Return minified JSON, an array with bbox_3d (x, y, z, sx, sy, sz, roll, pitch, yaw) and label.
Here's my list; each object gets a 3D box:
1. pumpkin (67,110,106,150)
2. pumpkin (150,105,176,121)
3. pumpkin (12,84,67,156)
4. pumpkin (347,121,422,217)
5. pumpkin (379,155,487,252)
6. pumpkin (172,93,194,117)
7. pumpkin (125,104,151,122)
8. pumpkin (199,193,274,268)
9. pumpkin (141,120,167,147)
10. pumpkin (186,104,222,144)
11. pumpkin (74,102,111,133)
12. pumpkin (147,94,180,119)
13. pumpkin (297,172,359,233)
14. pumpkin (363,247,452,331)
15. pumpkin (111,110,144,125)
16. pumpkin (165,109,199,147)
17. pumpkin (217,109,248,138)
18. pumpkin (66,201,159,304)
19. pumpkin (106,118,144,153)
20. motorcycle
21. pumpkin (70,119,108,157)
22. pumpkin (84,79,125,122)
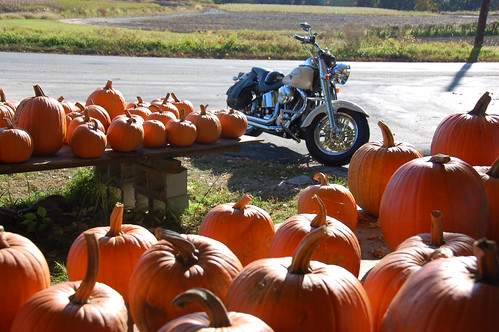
[{"bbox_3d":[-1.818,-0.456,5.521,0.364,0.452,0.401,8,12,-6],"label":"pumpkin"},{"bbox_3d":[-1.077,-0.626,6.038,0.209,0.260,0.238,-3,9,-5],"label":"pumpkin"},{"bbox_3d":[-2.256,-0.443,5.255,0.495,0.785,0.515,-5,-8,2],"label":"pumpkin"},{"bbox_3d":[1.378,0.061,4.966,0.684,0.968,0.709,11,14,40],"label":"pumpkin"},{"bbox_3d":[1.596,0.503,4.261,0.816,1.125,0.874,0,-16,15],"label":"pumpkin"},{"bbox_3d":[-0.984,-0.874,6.793,0.213,0.293,0.211,39,28,31],"label":"pumpkin"},{"bbox_3d":[-1.389,-0.691,6.236,0.190,0.227,0.210,2,11,4],"label":"pumpkin"},{"bbox_3d":[-0.120,0.600,4.206,0.630,0.691,0.677,5,2,-8],"label":"pumpkin"},{"bbox_3d":[-1.132,-0.365,5.784,0.316,0.370,0.328,-2,8,-45],"label":"pumpkin"},{"bbox_3d":[-0.561,-0.528,6.152,0.425,0.505,0.446,8,12,29],"label":"pumpkin"},{"bbox_3d":[-1.854,-0.611,5.827,0.313,0.360,0.323,-17,16,-19],"label":"pumpkin"},{"bbox_3d":[-1.083,-0.777,6.397,0.311,0.489,0.331,9,12,15],"label":"pumpkin"},{"bbox_3d":[0.675,0.323,4.538,0.450,0.669,0.520,2,-3,-19],"label":"pumpkin"},{"bbox_3d":[1.067,0.727,3.449,0.516,0.566,0.545,-7,2,-26],"label":"pumpkin"},{"bbox_3d":[-1.393,-0.572,5.716,0.217,0.236,0.242,-3,8,-3],"label":"pumpkin"},{"bbox_3d":[-0.761,-0.500,5.927,0.369,0.549,0.379,5,12,7],"label":"pumpkin"},{"bbox_3d":[-0.226,-0.560,6.462,0.379,0.386,0.426,7,14,3],"label":"pumpkin"},{"bbox_3d":[-1.121,0.817,4.030,0.747,1.013,0.763,3,0,-25],"label":"pumpkin"},{"bbox_3d":[-1.429,-0.374,5.589,0.395,0.468,0.418,3,-1,19],"label":"pumpkin"},{"bbox_3d":[0.688,-1.308,8.454,1.114,2.175,3.133,0,13,-43],"label":"motorcycle"},{"bbox_3d":[-1.684,-0.322,5.287,0.339,0.476,0.354,23,19,28],"label":"pumpkin"},{"bbox_3d":[-1.800,-0.874,6.397,0.401,0.530,0.452,-12,47,-16],"label":"pumpkin"}]
